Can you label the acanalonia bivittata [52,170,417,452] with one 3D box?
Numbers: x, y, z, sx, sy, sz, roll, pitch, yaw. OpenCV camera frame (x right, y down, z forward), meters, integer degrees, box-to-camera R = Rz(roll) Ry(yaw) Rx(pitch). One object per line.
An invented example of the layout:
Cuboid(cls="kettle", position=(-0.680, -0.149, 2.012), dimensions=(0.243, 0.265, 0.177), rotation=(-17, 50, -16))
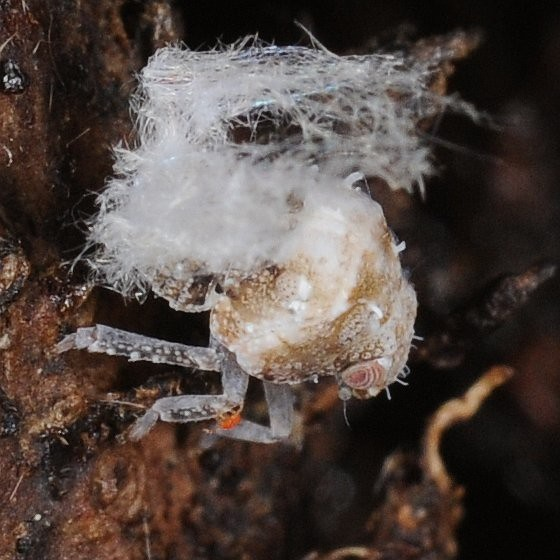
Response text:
Cuboid(cls="acanalonia bivittata", position=(-0.278, 0.119, 4.885), dimensions=(1.752, 1.641, 1.313), rotation=(-7, -63, -7))
